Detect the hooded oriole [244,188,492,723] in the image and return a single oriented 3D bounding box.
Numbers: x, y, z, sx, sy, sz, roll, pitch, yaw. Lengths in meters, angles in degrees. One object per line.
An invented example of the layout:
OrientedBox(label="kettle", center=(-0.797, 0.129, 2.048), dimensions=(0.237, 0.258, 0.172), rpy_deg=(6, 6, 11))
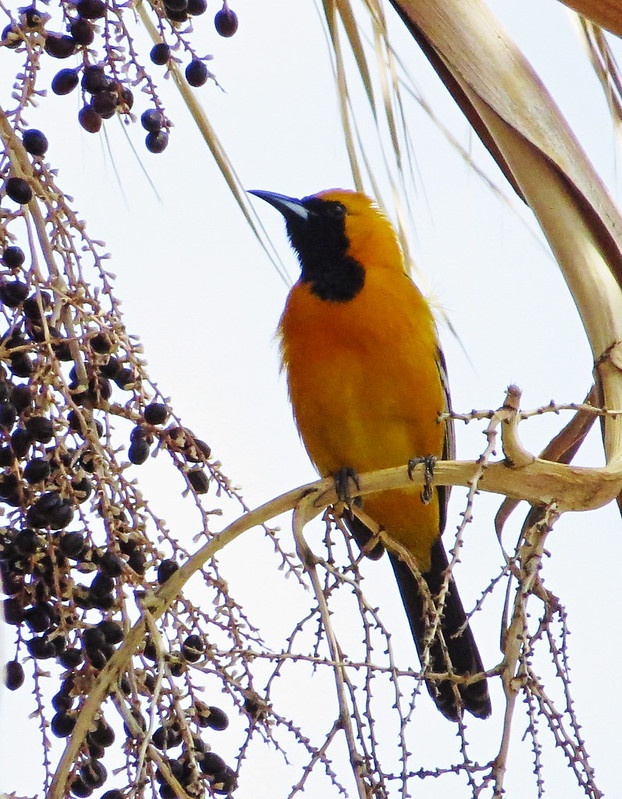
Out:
OrientedBox(label="hooded oriole", center=(0.099, 0.363, 4.561), dimensions=(0.280, 0.568, 1.404), rpy_deg=(-10, -76, 8))
